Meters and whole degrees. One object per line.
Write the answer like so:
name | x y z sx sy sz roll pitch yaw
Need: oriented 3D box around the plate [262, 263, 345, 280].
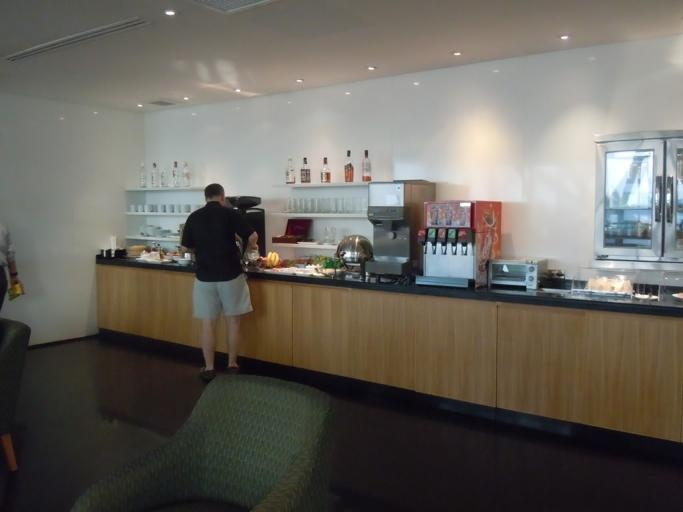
plate | -0.403 0.156 5.315 0.934 0.057 0.526 4 11 25

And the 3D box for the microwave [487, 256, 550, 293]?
microwave | 1.501 0.144 4.443 0.488 0.226 0.348 2 10 13

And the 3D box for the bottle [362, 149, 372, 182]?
bottle | 0.263 -0.937 5.450 0.099 0.326 0.241 0 9 2

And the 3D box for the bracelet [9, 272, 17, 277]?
bracelet | -3.304 0.186 5.261 0.056 0.039 0.057 -1 -1 45

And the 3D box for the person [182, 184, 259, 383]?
person | -1.188 0.240 5.109 0.704 1.843 0.440 -2 9 -12

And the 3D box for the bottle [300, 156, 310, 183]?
bottle | -0.400 -0.942 5.792 0.121 0.279 0.322 -1 10 -5

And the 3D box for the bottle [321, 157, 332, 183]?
bottle | -0.168 -0.921 5.663 0.103 0.273 0.322 -1 10 -1

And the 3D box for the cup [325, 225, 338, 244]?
cup | -0.108 -0.238 5.702 0.164 0.252 0.161 0 0 0

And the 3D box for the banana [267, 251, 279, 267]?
banana | -0.750 0.036 5.647 0.135 0.200 0.146 -2 2 -16

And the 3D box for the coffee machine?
coffee machine | 0.524 -0.266 4.989 0.501 0.875 0.646 3 10 22

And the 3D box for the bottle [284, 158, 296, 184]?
bottle | -0.578 -0.955 5.897 0.116 0.277 0.287 -1 9 -6
